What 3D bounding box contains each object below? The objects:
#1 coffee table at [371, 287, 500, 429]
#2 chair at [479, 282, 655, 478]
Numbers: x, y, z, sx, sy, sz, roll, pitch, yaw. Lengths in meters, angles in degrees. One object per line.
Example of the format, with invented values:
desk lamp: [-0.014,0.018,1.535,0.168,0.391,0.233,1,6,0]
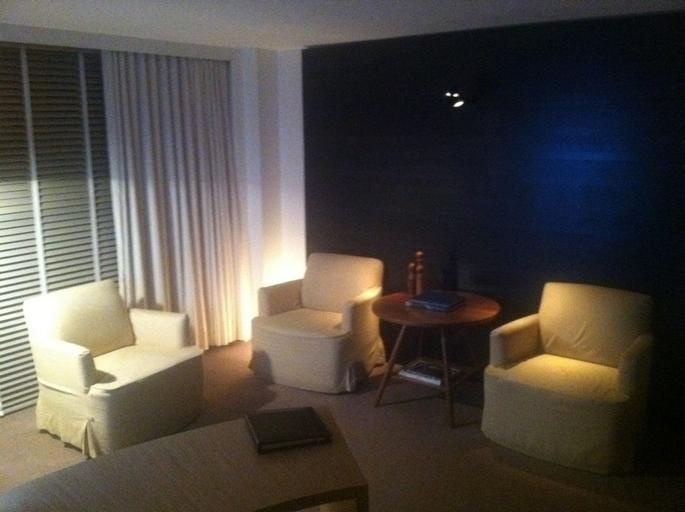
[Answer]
coffee table: [0.694,0.607,4.021,0.928,0.634,0.867,3,9,23]
chair: [1.400,0.611,3.716,1.016,1.089,1.083,9,13,41]
